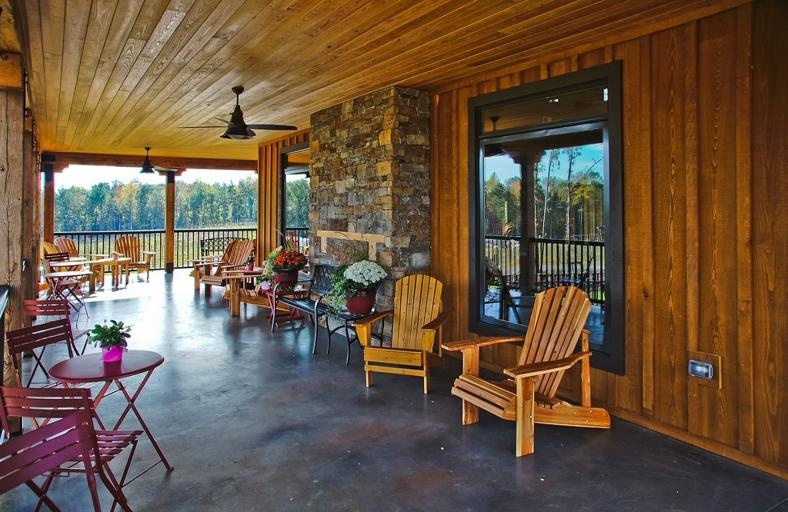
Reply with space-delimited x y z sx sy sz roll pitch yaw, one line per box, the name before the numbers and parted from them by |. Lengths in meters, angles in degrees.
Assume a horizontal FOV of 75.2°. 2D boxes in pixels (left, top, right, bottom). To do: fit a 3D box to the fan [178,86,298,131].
fan | -2.156 -1.943 7.015 1.589 0.642 1.510 -2 3 -14
